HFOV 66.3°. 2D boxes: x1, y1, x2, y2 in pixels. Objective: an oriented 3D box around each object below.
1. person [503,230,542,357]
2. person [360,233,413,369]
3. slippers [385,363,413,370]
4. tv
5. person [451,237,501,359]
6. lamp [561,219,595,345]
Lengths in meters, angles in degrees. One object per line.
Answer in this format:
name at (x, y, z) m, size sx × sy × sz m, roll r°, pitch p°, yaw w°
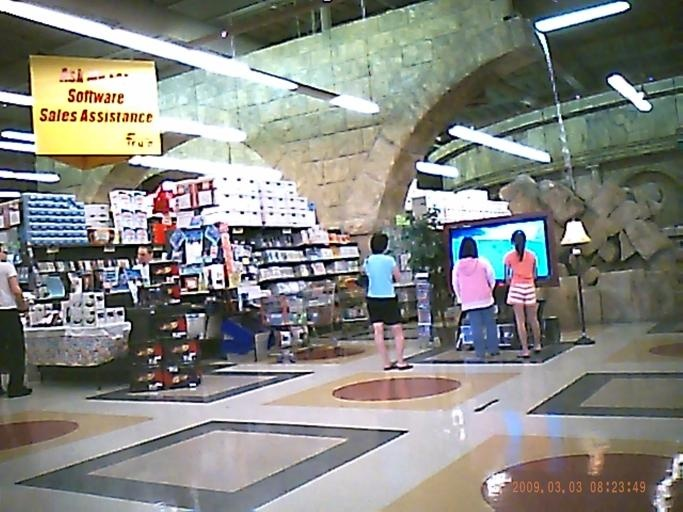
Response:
person at (2.331, 0.471, 6.674) m, size 0.406 × 1.671 × 0.454 m, roll -5°, pitch -1°, yaw -2°
person at (0.563, 0.561, 6.644) m, size 0.491 × 1.702 × 0.717 m, roll -5°, pitch -1°, yaw 3°
slippers at (0.718, 1.389, 6.551) m, size 0.354 × 0.096 × 0.125 m, roll -5°, pitch -8°, yaw 15°
tv at (2.279, 0.081, 7.449) m, size 1.594 × 1.044 × 0.955 m, roll -6°, pitch -27°, yaw 38°
person at (1.718, 0.536, 6.666) m, size 0.514 × 1.575 × 0.409 m, roll -5°, pitch -1°, yaw -9°
lamp at (3.828, 0.431, 8.426) m, size 0.483 × 1.993 × 0.477 m, roll -3°, pitch -5°, yaw 3°
